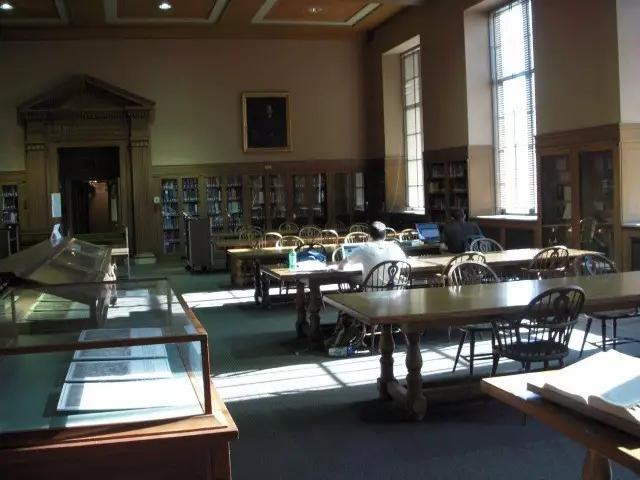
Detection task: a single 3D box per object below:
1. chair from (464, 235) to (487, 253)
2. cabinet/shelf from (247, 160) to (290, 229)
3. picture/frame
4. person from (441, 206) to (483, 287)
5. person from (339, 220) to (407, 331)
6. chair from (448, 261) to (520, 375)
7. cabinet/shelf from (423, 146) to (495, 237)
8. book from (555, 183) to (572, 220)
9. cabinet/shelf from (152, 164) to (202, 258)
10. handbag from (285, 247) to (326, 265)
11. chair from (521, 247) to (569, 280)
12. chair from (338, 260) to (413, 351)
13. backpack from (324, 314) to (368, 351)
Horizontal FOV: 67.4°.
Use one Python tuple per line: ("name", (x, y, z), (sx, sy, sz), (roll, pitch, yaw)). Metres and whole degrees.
("chair", (2.131, 0.056, 6.600), (0.167, 0.243, 0.167), (-2, 13, -11))
("cabinet/shelf", (-1.334, -0.767, 12.512), (1.059, 2.202, 0.640), (-2, -29, -6))
("picture/frame", (-1.460, -3.009, 12.279), (1.359, 1.808, 0.185), (-1, 0, -19))
("person", (2.078, 0.116, 6.925), (0.520, 1.184, 0.639), (-7, 15, 9))
("person", (0.516, 0.144, 4.947), (0.498, 0.931, 0.580), (-2, 10, -9))
("chair", (1.397, 0.672, 4.209), (0.486, 0.935, 0.399), (-4, 1, 3))
("cabinet/shelf", (2.709, -0.945, 9.147), (0.528, 2.148, 1.639), (-1, 3, -22))
("book", (3.598, -0.570, 7.061), (0.146, 0.513, 0.497), (0, 2, -1))
("cabinet/shelf", (-3.538, -0.667, 11.991), (1.108, 2.255, 0.318), (-5, 5, -21))
("handbag", (-0.120, 0.179, 5.275), (0.286, 0.112, 0.304), (-3, 5, -29))
("chair", (2.550, 0.277, 5.405), (0.272, 0.523, 0.336), (-3, 16, -5))
("chair", (0.676, 0.647, 4.551), (0.459, 0.763, 0.507), (0, 14, -23))
("backpack", (0.270, 0.950, 4.844), (0.269, 0.187, 0.397), (-3, 49, 20))
